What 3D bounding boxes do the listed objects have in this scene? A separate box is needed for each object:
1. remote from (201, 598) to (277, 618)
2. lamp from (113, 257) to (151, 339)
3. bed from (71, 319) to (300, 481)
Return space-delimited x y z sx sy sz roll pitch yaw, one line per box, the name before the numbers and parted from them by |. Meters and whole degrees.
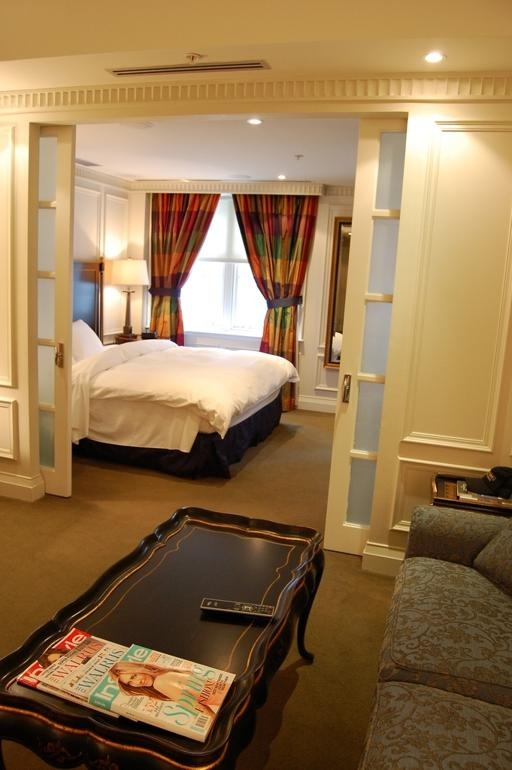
remote | -0.055 0.611 1.591 0.241 0.025 0.070 2 9 8
lamp | -1.411 -0.957 6.351 0.503 0.899 0.506 0 7 -13
bed | -0.633 0.159 4.771 1.381 0.797 1.675 8 9 12
